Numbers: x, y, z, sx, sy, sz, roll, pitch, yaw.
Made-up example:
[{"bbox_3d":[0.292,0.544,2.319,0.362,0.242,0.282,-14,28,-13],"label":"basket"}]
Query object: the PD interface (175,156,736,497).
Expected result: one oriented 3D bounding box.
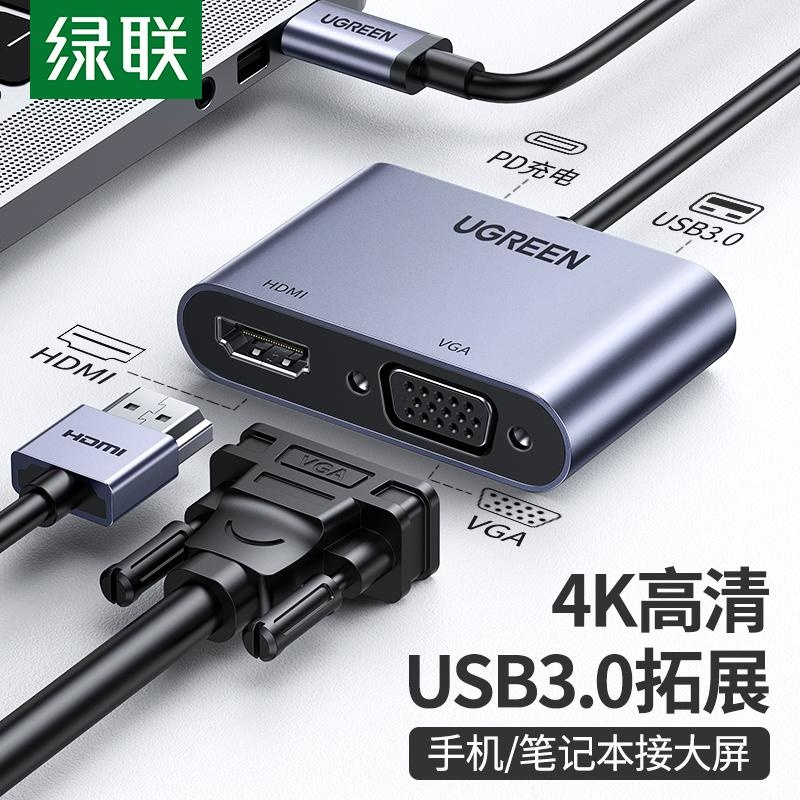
[{"bbox_3d":[0.069,-0.113,1.057,0.533,0.412,0.105,35,-34,28],"label":"PD interface"}]
